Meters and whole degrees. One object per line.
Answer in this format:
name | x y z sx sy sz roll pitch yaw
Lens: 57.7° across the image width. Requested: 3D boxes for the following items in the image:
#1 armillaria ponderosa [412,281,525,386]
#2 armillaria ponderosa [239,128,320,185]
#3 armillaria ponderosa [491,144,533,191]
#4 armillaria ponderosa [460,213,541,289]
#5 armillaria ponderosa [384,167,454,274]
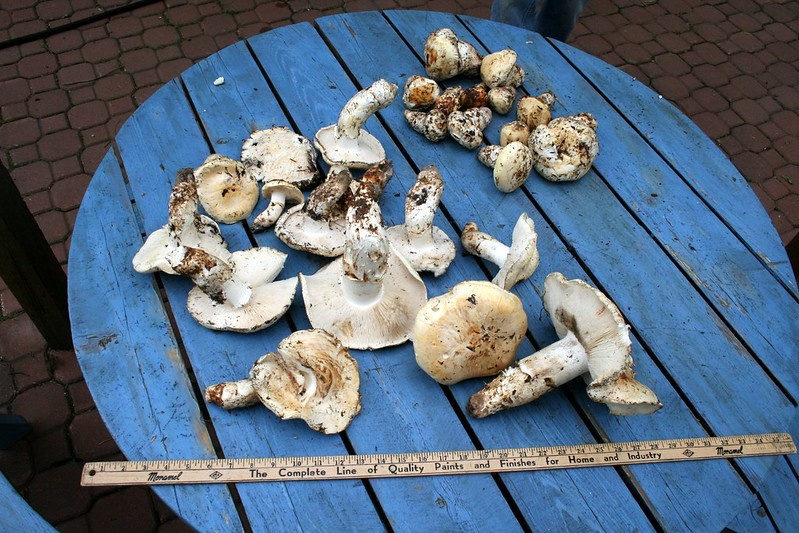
armillaria ponderosa | 0.398 0.367 4.106 0.650 0.229 0.516 -11 79 -2
armillaria ponderosa | -0.768 -0.699 4.643 0.363 0.148 0.410 -1 55 -17
armillaria ponderosa | 0.704 -0.617 4.618 0.137 0.251 0.276 44 112 48
armillaria ponderosa | 0.616 -0.079 4.341 0.412 0.213 0.478 -1 84 30
armillaria ponderosa | 0.116 -0.251 4.415 0.320 0.421 0.374 30 62 18
